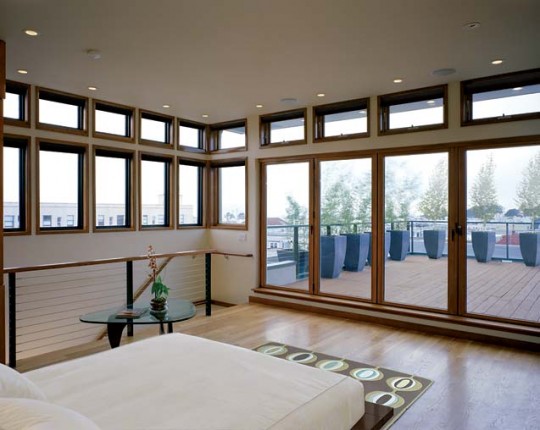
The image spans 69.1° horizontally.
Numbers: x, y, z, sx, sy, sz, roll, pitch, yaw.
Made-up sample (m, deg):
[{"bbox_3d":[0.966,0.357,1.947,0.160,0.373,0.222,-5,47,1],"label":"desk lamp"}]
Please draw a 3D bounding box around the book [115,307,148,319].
[{"bbox_3d":[-1.519,1.064,4.299,0.281,0.057,0.340,-1,3,-6],"label":"book"}]

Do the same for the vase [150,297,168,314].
[{"bbox_3d":[-1.267,1.017,4.458,0.172,0.148,0.173,2,-8,-22],"label":"vase"}]
